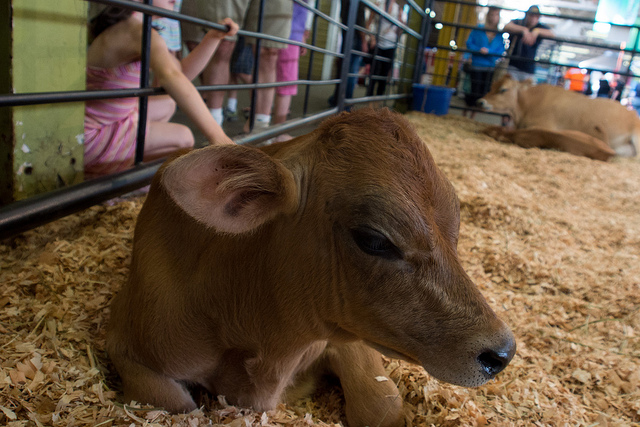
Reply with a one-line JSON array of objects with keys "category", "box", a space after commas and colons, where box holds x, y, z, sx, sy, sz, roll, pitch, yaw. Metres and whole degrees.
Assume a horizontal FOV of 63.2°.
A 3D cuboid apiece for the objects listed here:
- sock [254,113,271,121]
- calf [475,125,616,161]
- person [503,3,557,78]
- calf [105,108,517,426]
[{"category": "sock", "box": [-0.562, -0.913, 4.974, 0.080, 0.067, 0.084, 1, 5, -14]}, {"category": "calf", "box": [2.864, -0.859, 6.486, 0.803, 0.235, 0.489, 16, -2, 18]}, {"category": "person", "box": [3.756, -3.056, 9.296, 0.847, 1.161, 0.667, 18, 20, 21]}, {"category": "calf", "box": [-0.087, 0.252, 2.375, 1.697, 1.164, 1.206, 12, 6, 38]}]
